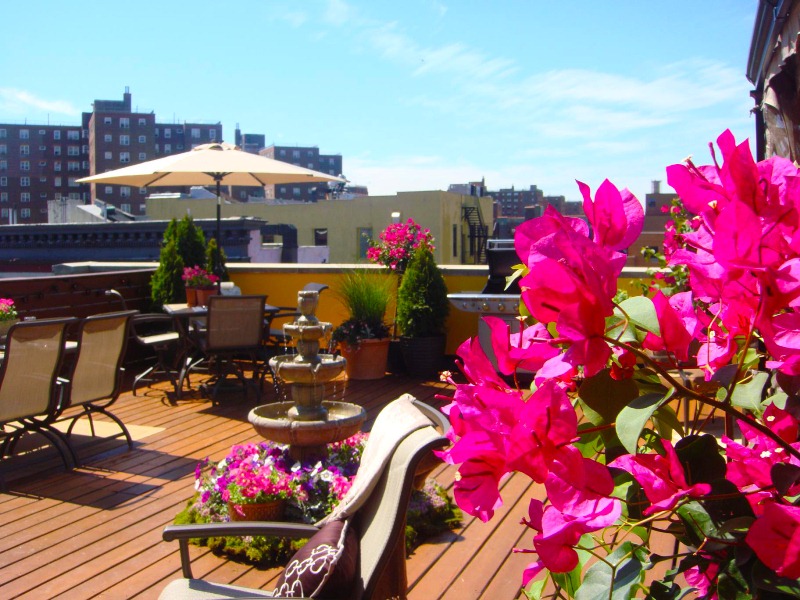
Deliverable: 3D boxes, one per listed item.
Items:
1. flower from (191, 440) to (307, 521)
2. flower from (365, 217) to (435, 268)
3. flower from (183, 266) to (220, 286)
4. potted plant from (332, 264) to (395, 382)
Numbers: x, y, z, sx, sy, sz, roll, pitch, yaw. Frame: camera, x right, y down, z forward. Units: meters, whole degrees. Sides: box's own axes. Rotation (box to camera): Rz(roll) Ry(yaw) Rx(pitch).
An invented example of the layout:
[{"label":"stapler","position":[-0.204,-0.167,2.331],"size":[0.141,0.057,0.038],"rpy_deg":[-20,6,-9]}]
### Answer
[{"label":"flower","position":[-0.744,0.878,3.547],"size":[0.340,0.201,0.369],"rpy_deg":[2,9,7]},{"label":"flower","position":[-0.006,-0.605,7.601],"size":[0.533,0.549,0.578],"rpy_deg":[4,16,29]},{"label":"flower","position":[-1.921,-0.220,6.848],"size":[0.281,0.220,0.251],"rpy_deg":[7,3,35]},{"label":"potted plant","position":[-0.381,0.234,7.160],"size":[0.548,1.023,0.768],"rpy_deg":[0,5,-1]}]
